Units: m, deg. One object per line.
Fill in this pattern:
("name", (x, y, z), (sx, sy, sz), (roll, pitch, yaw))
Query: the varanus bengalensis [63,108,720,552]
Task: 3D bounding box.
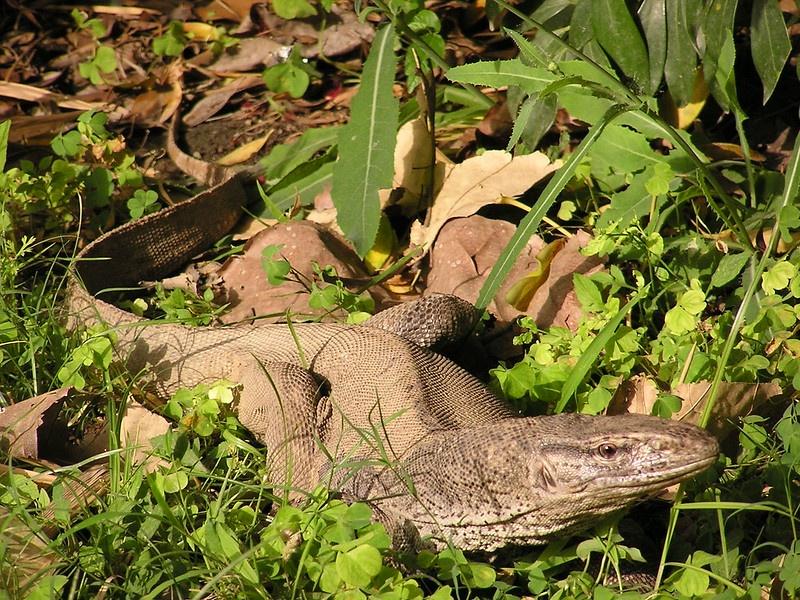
("varanus bengalensis", (-0.311, 0.313, 4.817), (3.356, 1.341, 1.723), (25, 32, 31))
